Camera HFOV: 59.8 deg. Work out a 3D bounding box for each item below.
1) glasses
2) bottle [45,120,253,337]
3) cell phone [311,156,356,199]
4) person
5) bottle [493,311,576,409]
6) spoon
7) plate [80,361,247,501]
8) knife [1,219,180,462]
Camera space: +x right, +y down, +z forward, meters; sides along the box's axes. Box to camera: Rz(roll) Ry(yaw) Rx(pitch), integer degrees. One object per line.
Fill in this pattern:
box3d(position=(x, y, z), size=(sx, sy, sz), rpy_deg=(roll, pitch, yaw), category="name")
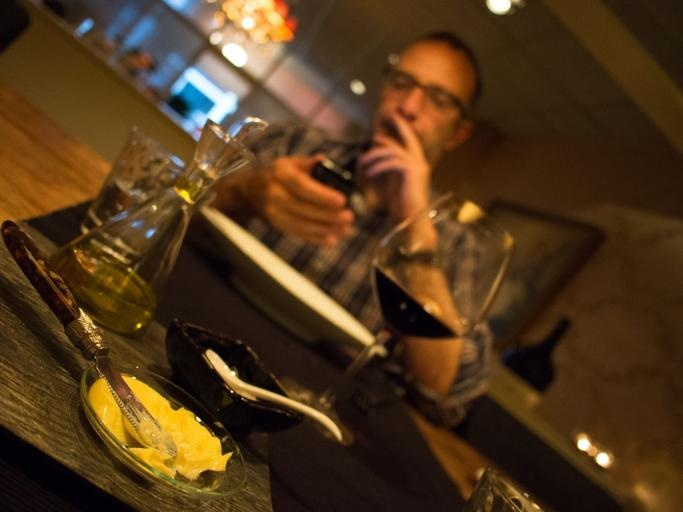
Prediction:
box3d(position=(0.152, -0.300, 1.123), size=(0.126, 0.050, 0.093), rpy_deg=(20, 24, -52), category="glasses")
box3d(position=(-0.178, -0.058, 0.818), size=(0.363, 0.191, 0.182), rpy_deg=(17, 21, -35), category="bottle")
box3d(position=(-0.010, -0.153, 1.143), size=(0.091, 0.060, 0.023), rpy_deg=(29, -2, 11), category="cell phone")
box3d(position=(0.018, 0.062, 1.427), size=(0.504, 0.392, 1.217), rpy_deg=(26, -24, 0), category="person")
box3d(position=(0.375, 0.216, 1.192), size=(0.131, 0.196, 0.034), rpy_deg=(35, 16, -5), category="bottle")
box3d(position=(-0.094, 0.194, 0.816), size=(0.195, 0.036, 0.040), rpy_deg=(31, 11, 9), category="spoon")
box3d(position=(-0.204, 0.216, 0.661), size=(0.160, 0.042, 0.152), rpy_deg=(35, 8, -42), category="plate")
box3d(position=(-0.290, 0.099, 0.684), size=(0.040, 0.037, 0.355), rpy_deg=(-1, 42, -52), category="knife")
